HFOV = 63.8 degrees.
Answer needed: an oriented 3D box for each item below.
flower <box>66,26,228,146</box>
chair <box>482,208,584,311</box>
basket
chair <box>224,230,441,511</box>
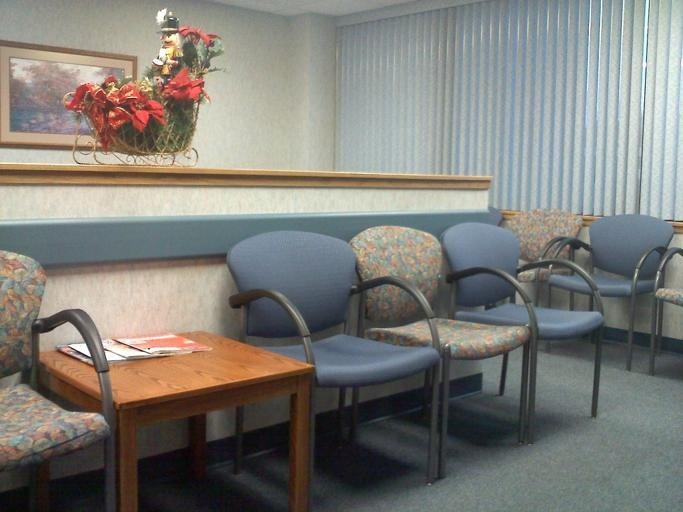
[{"bbox_3d":[-0.690,-0.554,2.004,0.634,0.492,0.446,-7,10,-40],"label":"flower"},{"bbox_3d":[1.526,0.071,4.611,0.733,1.032,0.830,0,0,-34],"label":"chair"},{"bbox_3d":[-0.807,-0.499,2.125,0.571,0.406,0.426,-4,9,-39],"label":"basket"},{"bbox_3d":[0.117,0.324,2.482,0.838,1.352,0.948,-3,5,-36],"label":"chair"}]
